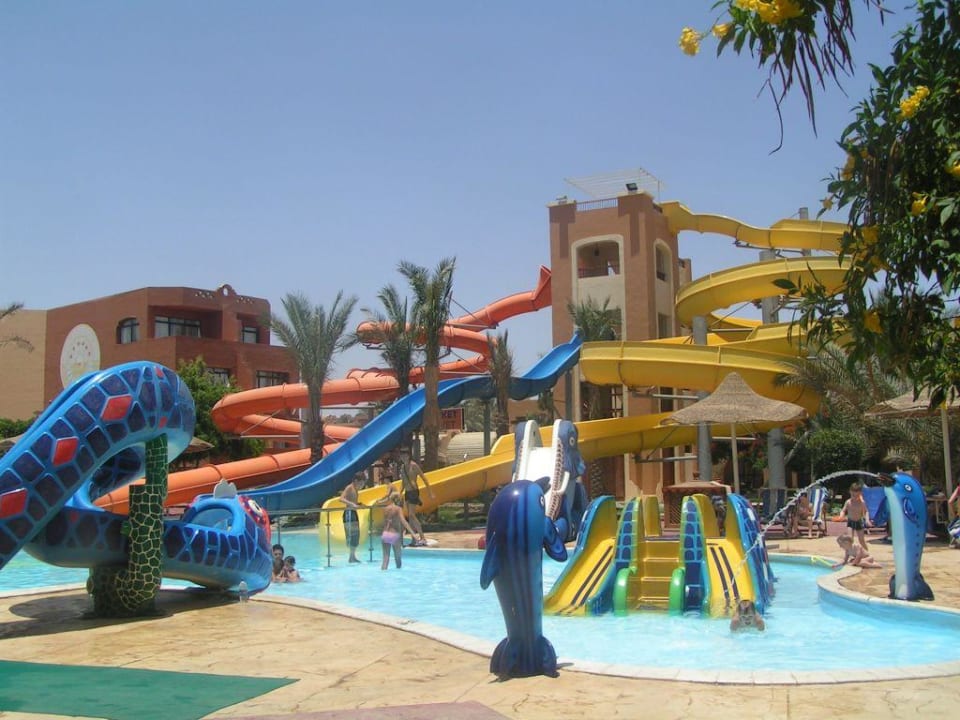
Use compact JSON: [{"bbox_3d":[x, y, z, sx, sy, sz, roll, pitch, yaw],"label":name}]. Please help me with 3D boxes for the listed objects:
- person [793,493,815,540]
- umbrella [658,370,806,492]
[{"bbox_3d":[7.233,3.500,20.164,0.427,0.844,1.948,-2,-7,20],"label":"person"},{"bbox_3d":[5.388,0.984,18.527,2.895,2.754,3.091,-3,0,-14],"label":"umbrella"}]
